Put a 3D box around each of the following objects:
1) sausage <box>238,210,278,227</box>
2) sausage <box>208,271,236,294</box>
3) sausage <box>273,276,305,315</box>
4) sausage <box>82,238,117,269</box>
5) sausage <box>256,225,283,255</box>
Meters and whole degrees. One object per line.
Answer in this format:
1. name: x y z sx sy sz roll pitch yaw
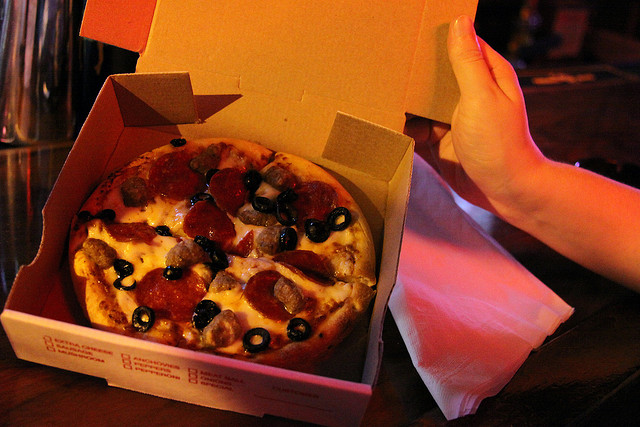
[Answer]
1. sausage: -0.218 0.017 2.056 0.106 0.031 0.058 9 51 1
2. sausage: -0.320 0.225 1.918 0.068 0.024 0.065 15 67 7
3. sausage: -0.100 0.267 1.910 0.043 0.118 0.084 -30 12 39
4. sausage: -0.729 0.131 1.939 0.074 0.111 0.033 -51 20 -15
5. sausage: -0.191 0.091 2.077 0.125 0.048 0.158 2 15 -7
